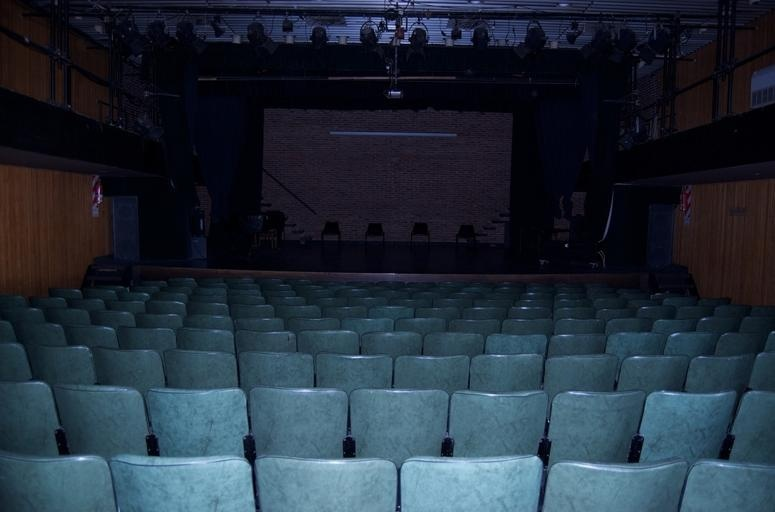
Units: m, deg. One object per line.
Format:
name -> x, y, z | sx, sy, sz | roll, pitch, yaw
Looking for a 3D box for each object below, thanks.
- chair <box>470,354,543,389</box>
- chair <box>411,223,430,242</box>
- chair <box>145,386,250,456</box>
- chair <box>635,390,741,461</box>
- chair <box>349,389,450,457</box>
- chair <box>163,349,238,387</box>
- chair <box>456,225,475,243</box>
chair -> 1.245, 1.222, 7.883 | 0.762, 0.242, 0.389 | 1, -76, 0
chair -> 0.825, -0.618, 19.190 | 0.379, 0.629, 0.437 | 0, -44, 5
chair -> -1.845, 1.501, 7.389 | 0.657, 0.769, 0.907 | 2, -83, -1
chair -> 2.846, 1.671, 7.466 | 0.750, 0.780, 0.998 | 2, -88, 4
chair -> 0.056, 1.529, 7.384 | 0.757, 0.709, 0.792 | 1, -92, -1
chair -> -1.993, 1.220, 7.726 | 0.772, 0.537, 0.421 | -1, -76, 0
chair -> 1.938, -0.571, 18.646 | 0.418, 0.466, 0.674 | 1, -92, 4
